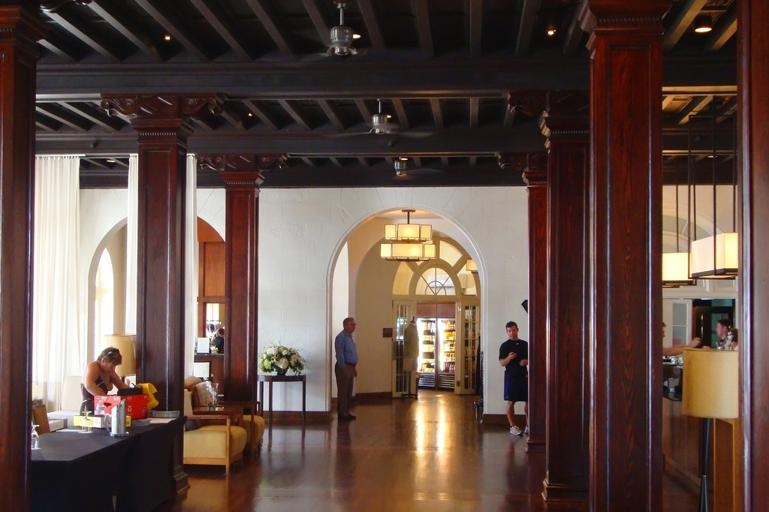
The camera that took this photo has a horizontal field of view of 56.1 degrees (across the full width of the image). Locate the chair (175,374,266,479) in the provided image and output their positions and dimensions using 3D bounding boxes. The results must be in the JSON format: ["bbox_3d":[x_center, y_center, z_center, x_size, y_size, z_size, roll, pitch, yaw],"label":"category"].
[{"bbox_3d":[-2.281,2.279,9.817,0.890,1.089,1.171,0,-2,-2],"label":"chair"}]

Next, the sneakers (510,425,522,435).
[{"bbox_3d":[2.170,2.897,11.974,0.098,0.096,0.208,2,-13,-16],"label":"sneakers"}]

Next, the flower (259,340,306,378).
[{"bbox_3d":[-1.796,1.826,12.751,0.603,0.417,0.605,2,-1,5],"label":"flower"}]

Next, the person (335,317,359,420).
[{"bbox_3d":[-0.758,2.125,13.817,0.378,1.872,0.838,0,-2,-4],"label":"person"}]

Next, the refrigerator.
[{"bbox_3d":[1.289,2.176,17.335,1.880,2.157,1.648,0,-2,5],"label":"refrigerator"}]

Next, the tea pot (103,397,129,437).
[{"bbox_3d":[-2.752,1.660,7.448,0.165,0.369,0.209,1,-2,-22],"label":"tea pot"}]

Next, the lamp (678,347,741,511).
[{"bbox_3d":[2.896,1.520,6.401,0.395,1.490,1.574,-1,-3,24],"label":"lamp"}]

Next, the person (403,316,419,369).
[{"bbox_3d":[0.638,2.042,16.727,0.279,1.196,0.442,-1,-3,35],"label":"person"}]

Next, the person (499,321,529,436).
[{"bbox_3d":[2.156,2.029,12.037,0.438,1.826,0.402,0,-2,6],"label":"person"}]

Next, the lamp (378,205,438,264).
[{"bbox_3d":[0.467,-0.280,14.604,1.048,0.964,1.056,1,-6,-4],"label":"lamp"}]
